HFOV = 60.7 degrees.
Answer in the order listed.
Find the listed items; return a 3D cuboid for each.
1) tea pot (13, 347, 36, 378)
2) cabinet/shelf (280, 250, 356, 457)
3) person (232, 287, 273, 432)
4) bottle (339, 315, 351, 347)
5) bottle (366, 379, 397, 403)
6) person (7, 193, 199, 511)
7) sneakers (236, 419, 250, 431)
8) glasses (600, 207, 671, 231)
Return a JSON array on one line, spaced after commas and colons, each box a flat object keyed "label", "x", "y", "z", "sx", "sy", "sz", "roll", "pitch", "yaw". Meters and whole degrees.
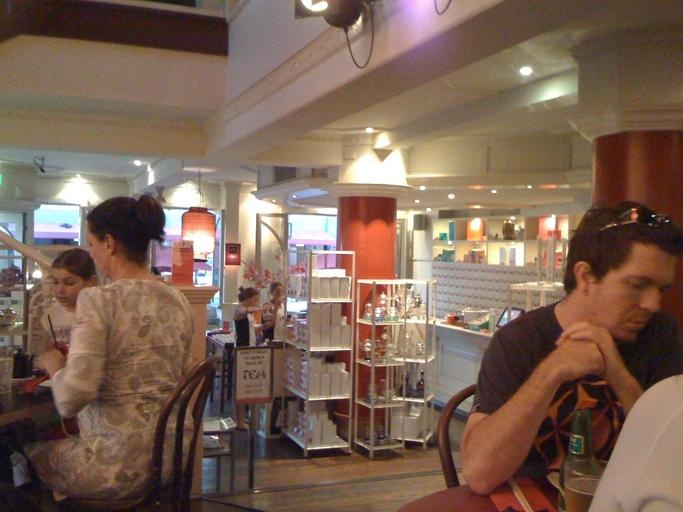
[{"label": "tea pot", "x": -1.723, "y": 0.583, "z": 3.154, "sx": 0.126, "sy": 0.215, "sz": 0.124, "roll": 1, "pitch": -3, "yaw": 0}, {"label": "cabinet/shelf", "x": -0.208, "y": 1.012, "z": 6.478, "sx": 0.773, "sy": 2.165, "sz": 0.933, "roll": 1, "pitch": -2, "yaw": -15}, {"label": "person", "x": -1.100, "y": 1.172, "z": 7.191, "sx": 0.425, "sy": 1.543, "sz": 1.601, "roll": 1, "pitch": -2, "yaw": -9}, {"label": "bottle", "x": 0.047, "y": 0.851, "z": 6.490, "sx": 0.195, "sy": 0.263, "sz": 0.265, "roll": 0, "pitch": -2, "yaw": -3}, {"label": "bottle", "x": 0.469, "y": 1.480, "z": 6.369, "sx": 0.332, "sy": 0.242, "sz": 0.247, "roll": 2, "pitch": -6, "yaw": -13}, {"label": "person", "x": -1.020, "y": 0.407, "z": 2.681, "sx": 0.721, "sy": 1.392, "sz": 0.386, "roll": 2, "pitch": -2, "yaw": -29}, {"label": "sneakers", "x": -1.111, "y": 1.889, "z": 6.519, "sx": 0.126, "sy": 0.159, "sz": 0.319, "roll": 1, "pitch": -2, "yaw": -10}, {"label": "glasses", "x": 1.008, "y": -0.123, "z": 1.951, "sx": 0.125, "sy": 0.038, "sz": 0.122, "roll": -7, "pitch": 0, "yaw": 4}]
